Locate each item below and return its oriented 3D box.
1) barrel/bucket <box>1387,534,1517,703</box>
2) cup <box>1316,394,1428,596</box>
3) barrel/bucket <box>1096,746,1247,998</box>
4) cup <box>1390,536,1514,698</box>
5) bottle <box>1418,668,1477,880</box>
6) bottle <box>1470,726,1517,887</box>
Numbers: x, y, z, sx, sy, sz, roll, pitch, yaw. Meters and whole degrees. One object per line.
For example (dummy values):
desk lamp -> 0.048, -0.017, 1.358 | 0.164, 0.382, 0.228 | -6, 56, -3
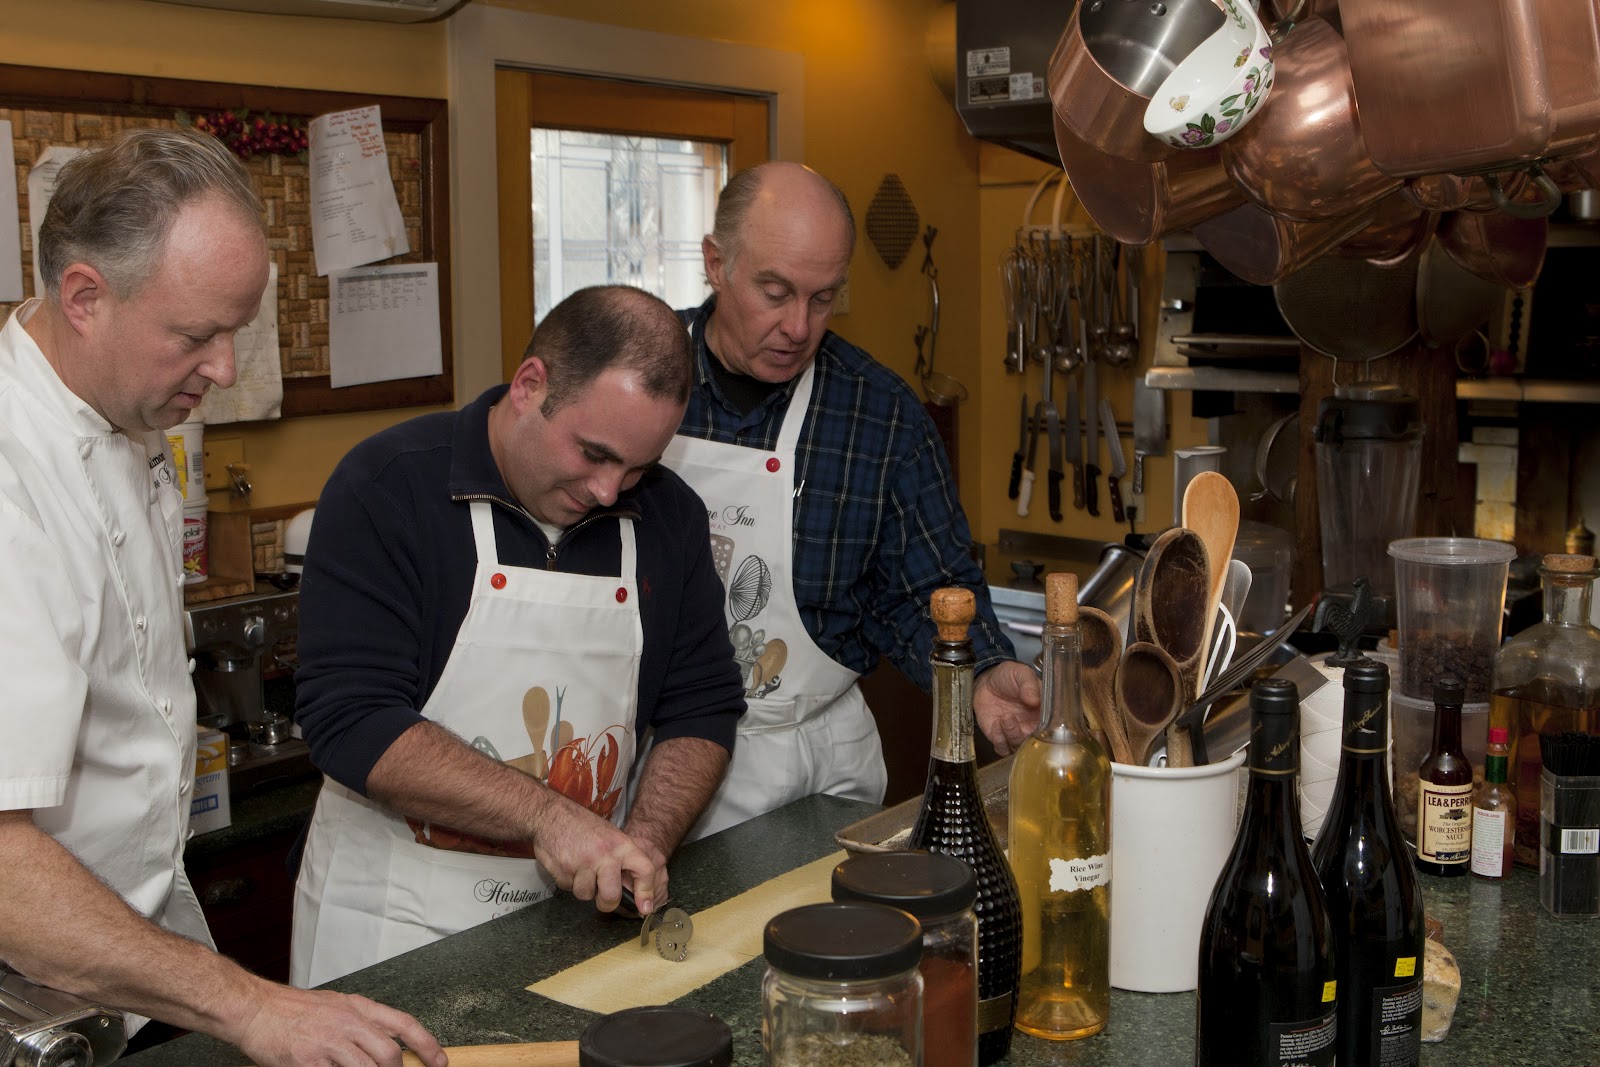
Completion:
barrel/bucket -> 1.029, 0.140, 2.017 | 0.170, 0.225, 0.169 | 2, 1, 0
cup -> 1.225, -0.093, 2.704 | 0.205, 0.416, 0.360 | 1, 4, 25
barrel/bucket -> 0.429, 0.416, 1.642 | 0.237, 0.271, 0.245 | 0, 6, 0
cup -> 1.043, 0.147, 2.016 | 0.166, 0.230, 0.185 | 3, -5, 23
bottle -> 0.938, 0.367, 1.808 | 0.074, 0.269, 0.129 | 1, 4, 24
bottle -> 1.023, 0.386, 1.843 | 0.055, 0.233, 0.145 | 2, 4, 30
